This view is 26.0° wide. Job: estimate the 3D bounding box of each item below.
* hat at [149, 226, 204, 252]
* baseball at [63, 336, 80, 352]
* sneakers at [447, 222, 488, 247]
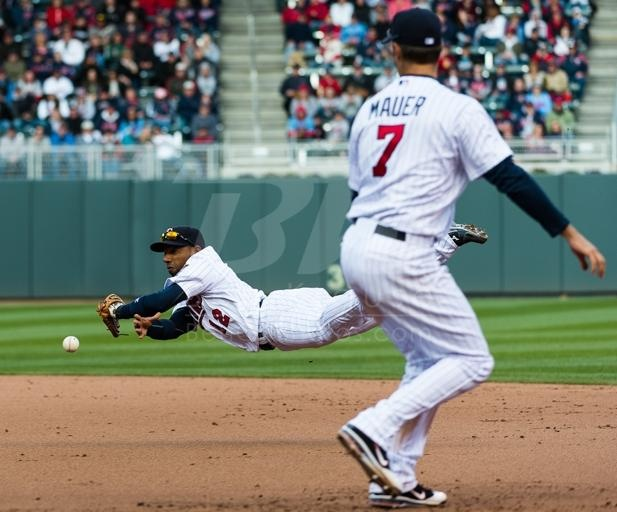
[{"bbox_3d":[-1.231,-0.159,12.802,0.391,0.177,0.254,3,-7,-15],"label":"hat"},{"bbox_3d":[-2.500,0.920,14.136,0.200,0.186,0.191,0,-1,-8],"label":"baseball"},{"bbox_3d":[1.485,-0.208,12.565,0.343,0.141,0.230,5,20,-5],"label":"sneakers"}]
